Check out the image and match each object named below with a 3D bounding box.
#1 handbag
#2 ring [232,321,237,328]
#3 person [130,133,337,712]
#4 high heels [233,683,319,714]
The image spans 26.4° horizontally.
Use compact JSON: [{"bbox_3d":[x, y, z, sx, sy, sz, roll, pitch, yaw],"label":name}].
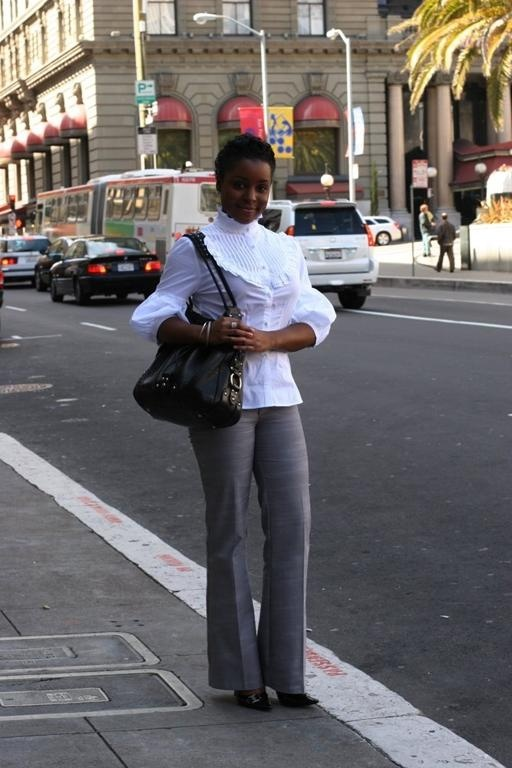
[{"bbox_3d":[-0.196,0.009,3.216,0.341,0.255,0.229,3,8,25],"label":"handbag"},{"bbox_3d":[-0.063,-0.173,3.141,0.022,0.019,0.005,1,2,-10],"label":"ring"},{"bbox_3d":[-0.018,0.120,3.360,0.732,1.737,0.481,0,-1,-19],"label":"person"},{"bbox_3d":[0.059,0.958,3.314,0.256,0.049,0.080,1,7,5],"label":"high heels"}]
